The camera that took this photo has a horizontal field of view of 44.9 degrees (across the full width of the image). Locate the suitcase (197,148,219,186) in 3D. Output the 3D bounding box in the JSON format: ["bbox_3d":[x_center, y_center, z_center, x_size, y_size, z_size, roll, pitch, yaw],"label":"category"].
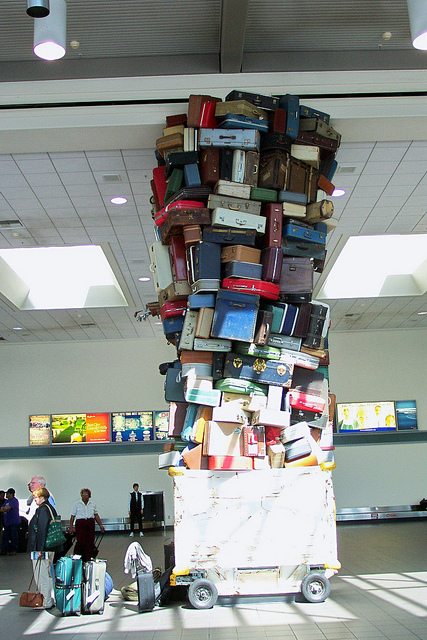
[{"bbox_3d":[-0.054,-1.574,5.330,0.135,0.355,0.365,0,-19,-24],"label":"suitcase"}]

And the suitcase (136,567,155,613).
[{"bbox_3d":[-0.654,2.623,4.990,0.168,0.346,0.225,1,-9,-5],"label":"suitcase"}]

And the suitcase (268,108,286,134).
[{"bbox_3d":[0.668,-2.099,5.455,0.167,0.257,0.298,1,-3,-5],"label":"suitcase"}]

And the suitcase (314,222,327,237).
[{"bbox_3d":[1.199,-1.017,5.819,0.159,0.125,0.236,10,5,-1],"label":"suitcase"}]

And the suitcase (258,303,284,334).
[{"bbox_3d":[0.583,-0.002,5.322,0.160,0.254,0.287,1,11,-36],"label":"suitcase"}]

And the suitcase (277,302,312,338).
[{"bbox_3d":[0.924,0.008,5.772,0.325,0.553,0.348,4,-2,-22],"label":"suitcase"}]

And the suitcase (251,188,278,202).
[{"bbox_3d":[0.527,-1.310,5.547,0.335,0.111,0.286,4,1,-10],"label":"suitcase"}]

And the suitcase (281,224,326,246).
[{"bbox_3d":[0.990,-0.921,5.616,0.538,0.160,0.132,5,-10,-30],"label":"suitcase"}]

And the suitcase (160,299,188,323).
[{"bbox_3d":[-0.432,-0.069,5.676,0.240,0.139,0.314,-1,-4,-8],"label":"suitcase"}]

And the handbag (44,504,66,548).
[{"bbox_3d":[-1.815,2.319,5.878,0.226,0.468,0.202,-16,-29,6],"label":"handbag"}]

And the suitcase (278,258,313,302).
[{"bbox_3d":[0.997,-0.464,5.631,0.414,0.452,0.522,-5,8,-45],"label":"suitcase"}]

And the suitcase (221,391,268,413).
[{"bbox_3d":[0.319,0.810,5.114,0.306,0.065,0.268,7,-2,-17],"label":"suitcase"}]

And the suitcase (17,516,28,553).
[{"bbox_3d":[-4.270,4.835,11.606,0.173,0.632,0.580,3,-9,-17],"label":"suitcase"}]

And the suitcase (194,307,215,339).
[{"bbox_3d":[-0.086,0.037,5.102,0.127,0.342,0.217,6,-18,17],"label":"suitcase"}]

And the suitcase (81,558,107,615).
[{"bbox_3d":[-1.227,2.724,5.254,0.228,0.419,0.297,3,-9,-13],"label":"suitcase"}]

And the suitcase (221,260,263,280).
[{"bbox_3d":[0.295,-0.491,5.208,0.257,0.116,0.249,2,-5,-17],"label":"suitcase"}]

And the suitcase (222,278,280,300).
[{"bbox_3d":[0.382,-0.324,5.202,0.304,0.092,0.294,7,-4,-27],"label":"suitcase"}]

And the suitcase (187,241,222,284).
[{"bbox_3d":[-0.136,-0.586,5.296,0.363,0.462,0.483,-3,5,-11],"label":"suitcase"}]

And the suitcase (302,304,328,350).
[{"bbox_3d":[1.065,0.061,5.541,0.164,0.274,0.437,9,19,5],"label":"suitcase"}]

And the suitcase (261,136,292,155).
[{"bbox_3d":[0.659,-1.828,5.544,0.228,0.130,0.220,2,-6,-1],"label":"suitcase"}]

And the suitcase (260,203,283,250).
[{"bbox_3d":[0.597,-0.974,5.379,0.174,0.488,0.509,1,-4,-6],"label":"suitcase"}]

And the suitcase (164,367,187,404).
[{"bbox_3d":[-0.413,0.715,5.565,0.262,0.330,0.090,-1,-17,5],"label":"suitcase"}]

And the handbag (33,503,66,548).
[{"bbox_3d":[-1.878,2.335,5.863,0.367,0.461,0.270,-13,-18,29],"label":"handbag"}]

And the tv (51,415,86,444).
[{"bbox_3d":[-4.449,3.386,15.743,0.803,0.811,0.281,3,-20,-12],"label":"tv"}]

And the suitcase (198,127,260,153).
[{"bbox_3d":[0.153,-1.886,5.389,0.634,0.248,0.137,1,-9,-3],"label":"suitcase"}]

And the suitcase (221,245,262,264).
[{"bbox_3d":[0.279,-0.661,5.242,0.242,0.107,0.234,0,-2,-24],"label":"suitcase"}]

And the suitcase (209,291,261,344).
[{"bbox_3d":[0.211,0.109,5.124,0.513,0.618,0.175,-6,-45,10],"label":"suitcase"}]

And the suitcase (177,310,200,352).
[{"bbox_3d":[-0.250,0.121,5.209,0.147,0.354,0.379,9,-13,0],"label":"suitcase"}]

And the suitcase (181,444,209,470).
[{"bbox_3d":[-0.173,1.306,4.852,0.241,0.228,0.062,-23,11,-27],"label":"suitcase"}]

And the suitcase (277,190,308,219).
[{"bbox_3d":[0.814,-1.228,5.487,0.352,0.295,0.184,3,-2,-16],"label":"suitcase"}]

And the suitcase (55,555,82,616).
[{"bbox_3d":[-1.477,2.740,5.278,0.260,0.521,0.376,2,-28,-8],"label":"suitcase"}]

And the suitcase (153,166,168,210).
[{"bbox_3d":[-0.594,-1.498,5.823,0.098,0.388,0.406,-8,-1,0],"label":"suitcase"}]

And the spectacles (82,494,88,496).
[{"bbox_3d":[-1.928,2.646,7.774,0.076,0.024,0.053,4,-9,-23],"label":"spectacles"}]

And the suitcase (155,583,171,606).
[{"bbox_3d":[-0.504,2.722,5.111,0.060,0.161,0.117,30,-10,-9],"label":"suitcase"}]

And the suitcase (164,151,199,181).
[{"bbox_3d":[-0.356,-1.611,5.443,0.358,0.191,0.340,1,-18,-8],"label":"suitcase"}]

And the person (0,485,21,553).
[{"bbox_3d":[-4.412,4.382,11.207,0.394,1.273,0.476,3,-10,-15],"label":"person"}]

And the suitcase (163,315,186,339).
[{"bbox_3d":[-0.443,0.073,5.705,0.240,0.213,0.328,-4,-9,1],"label":"suitcase"}]

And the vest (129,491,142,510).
[{"bbox_3d":[-2.059,4.762,13.555,0.273,0.447,0.132,-1,-9,8],"label":"vest"}]

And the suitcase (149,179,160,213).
[{"bbox_3d":[-0.694,-1.454,6.191,0.089,0.358,0.368,-4,-10,7],"label":"suitcase"}]

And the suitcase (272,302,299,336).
[{"bbox_3d":[0.741,0.005,5.417,0.167,0.290,0.311,7,6,-30],"label":"suitcase"}]

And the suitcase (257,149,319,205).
[{"bbox_3d":[0.779,-1.531,5.744,0.686,0.439,0.407,13,-10,-38],"label":"suitcase"}]

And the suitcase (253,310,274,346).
[{"bbox_3d":[0.489,0.074,5.240,0.099,0.263,0.266,8,-50,-2],"label":"suitcase"}]

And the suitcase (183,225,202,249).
[{"bbox_3d":[-0.206,-0.825,5.193,0.190,0.181,0.179,-8,-15,14],"label":"suitcase"}]

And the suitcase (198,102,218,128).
[{"bbox_3d":[-0.074,-2.153,5.400,0.111,0.292,0.306,0,1,23],"label":"suitcase"}]
